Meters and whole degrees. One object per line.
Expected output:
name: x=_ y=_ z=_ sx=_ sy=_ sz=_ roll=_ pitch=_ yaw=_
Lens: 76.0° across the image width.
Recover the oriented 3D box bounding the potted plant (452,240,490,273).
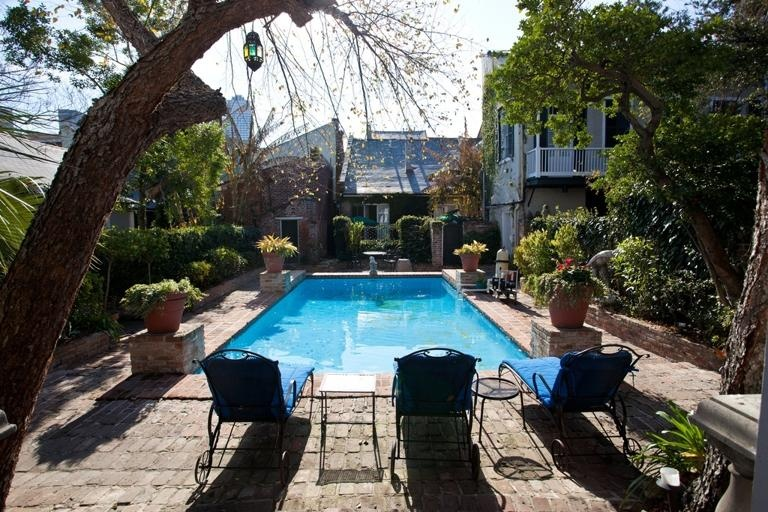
potted plant: x=2.698 y=-0.132 z=15.438 sx=0.756 sy=0.841 sz=0.978 roll=1 pitch=8 yaw=11

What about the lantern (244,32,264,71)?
lantern: x=-1.703 y=-2.609 z=6.433 sx=0.256 sy=0.482 sz=0.271 roll=-3 pitch=9 yaw=-16

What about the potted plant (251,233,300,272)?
potted plant: x=-3.364 y=-0.170 z=15.484 sx=1.185 sy=1.102 sz=1.295 roll=-5 pitch=-9 yaw=34

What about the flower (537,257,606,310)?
flower: x=2.967 y=0.310 z=8.302 sx=0.815 sy=0.746 sz=0.843 roll=-3 pitch=5 yaw=-18

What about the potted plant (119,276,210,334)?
potted plant: x=-3.631 y=0.691 z=8.157 sx=1.029 sy=0.752 sz=1.044 roll=-4 pitch=-5 yaw=-40

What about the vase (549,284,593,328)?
vase: x=3.057 y=0.701 z=8.172 sx=0.617 sy=0.598 sz=0.676 roll=1 pitch=0 yaw=4

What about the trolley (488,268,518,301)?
trolley: x=3.258 y=0.594 z=13.561 sx=0.601 sy=0.775 sz=1.501 roll=0 pitch=8 yaw=5
